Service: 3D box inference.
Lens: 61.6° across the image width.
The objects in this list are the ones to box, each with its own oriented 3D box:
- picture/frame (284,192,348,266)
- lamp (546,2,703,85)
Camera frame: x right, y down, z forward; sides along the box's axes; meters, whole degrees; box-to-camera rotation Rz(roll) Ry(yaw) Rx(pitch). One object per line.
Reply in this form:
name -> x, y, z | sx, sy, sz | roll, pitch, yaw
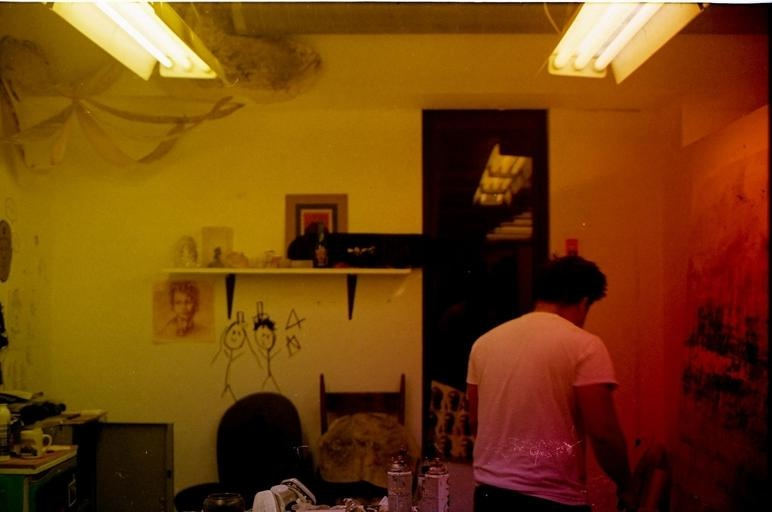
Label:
picture/frame -> -0.382, -0.161, 3.449 | 0.377, 0.450, 0.029 | 1, 6, -8
lamp -> 1.210, -1.069, 3.288 | 0.427, 0.163, 0.592 | 29, -48, -27
